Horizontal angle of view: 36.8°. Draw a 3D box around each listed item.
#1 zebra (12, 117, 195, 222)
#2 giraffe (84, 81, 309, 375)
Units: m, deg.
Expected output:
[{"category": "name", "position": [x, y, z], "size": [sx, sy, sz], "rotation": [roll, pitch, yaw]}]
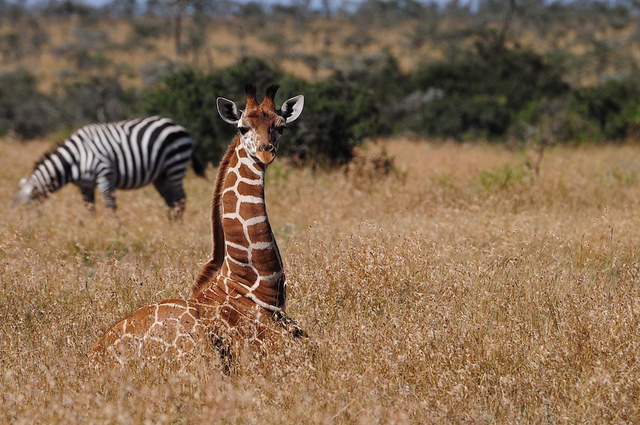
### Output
[{"category": "zebra", "position": [-5.012, -0.752, 22.443], "size": [4.396, 2.845, 1.464], "rotation": [-10, 15, -31]}, {"category": "giraffe", "position": [-1.858, 0.275, 17.573], "size": [3.214, 4.883, 1.910], "rotation": [1, 21, -14]}]
